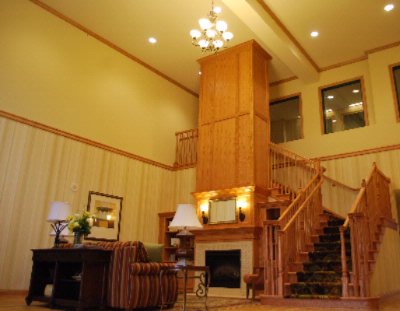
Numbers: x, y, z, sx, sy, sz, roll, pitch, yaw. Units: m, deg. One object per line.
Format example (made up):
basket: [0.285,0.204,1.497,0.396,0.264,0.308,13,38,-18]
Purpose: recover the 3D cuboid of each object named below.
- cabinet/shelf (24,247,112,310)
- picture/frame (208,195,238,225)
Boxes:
cabinet/shelf: [-2.119,2.055,5.166,1.068,0.730,0.391,-11,-26,34]
picture/frame: [0.687,1.583,8.965,0.786,0.665,0.092,-10,-24,34]
